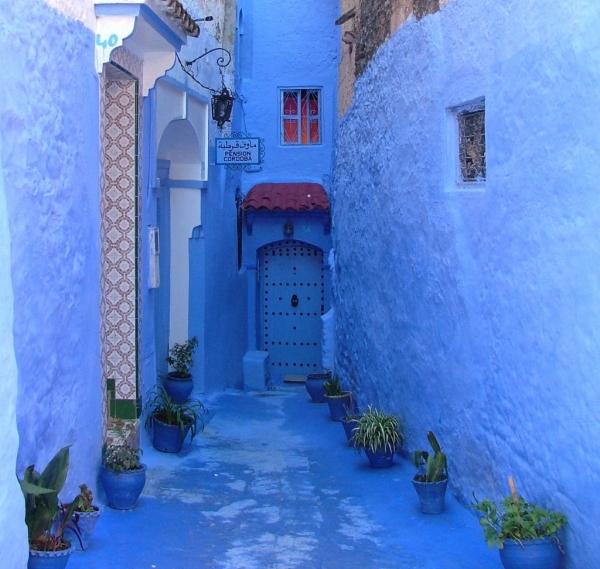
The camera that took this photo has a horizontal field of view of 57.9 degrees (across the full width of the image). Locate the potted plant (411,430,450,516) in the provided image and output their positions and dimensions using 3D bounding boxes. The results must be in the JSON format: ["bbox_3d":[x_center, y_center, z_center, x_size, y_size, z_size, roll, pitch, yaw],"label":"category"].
[{"bbox_3d":[1.368,1.962,5.694,0.256,0.825,0.317,2,-7,-14],"label":"potted plant"}]

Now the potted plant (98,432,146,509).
[{"bbox_3d":[-1.876,1.985,5.846,0.491,1.096,0.577,2,-8,-13],"label":"potted plant"}]

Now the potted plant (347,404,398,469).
[{"bbox_3d":[1.024,2.016,7.303,0.526,0.653,0.647,0,-8,-4],"label":"potted plant"}]

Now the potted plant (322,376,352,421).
[{"bbox_3d":[0.678,2.048,9.748,0.541,1.067,0.533,4,-6,-30],"label":"potted plant"}]

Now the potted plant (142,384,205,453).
[{"bbox_3d":[-1.862,2.014,7.925,0.635,0.874,0.692,0,-1,-3],"label":"potted plant"}]

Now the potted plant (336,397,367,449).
[{"bbox_3d":[0.758,2.206,8.451,0.377,0.916,0.464,0,-3,1],"label":"potted plant"}]
